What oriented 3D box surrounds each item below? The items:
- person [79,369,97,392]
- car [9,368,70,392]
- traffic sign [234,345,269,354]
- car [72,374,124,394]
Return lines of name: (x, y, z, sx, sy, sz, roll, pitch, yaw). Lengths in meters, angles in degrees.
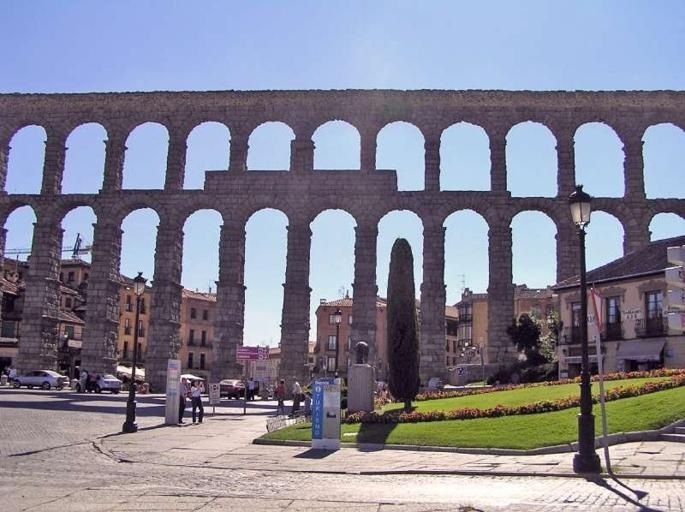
person: (-16.388, 8.118, 49.667, 1.194, 1.458, 0.930, 4, -13, -23)
car: (-19.804, 8.178, 50.684, 3.131, 1.424, 2.217, 4, -13, -21)
traffic sign: (-4.441, 4.644, 37.631, 1.399, 0.359, 0.794, -7, -14, 26)
car: (-15.924, 8.386, 50.173, 2.211, 1.097, 1.566, 1, -8, 15)
